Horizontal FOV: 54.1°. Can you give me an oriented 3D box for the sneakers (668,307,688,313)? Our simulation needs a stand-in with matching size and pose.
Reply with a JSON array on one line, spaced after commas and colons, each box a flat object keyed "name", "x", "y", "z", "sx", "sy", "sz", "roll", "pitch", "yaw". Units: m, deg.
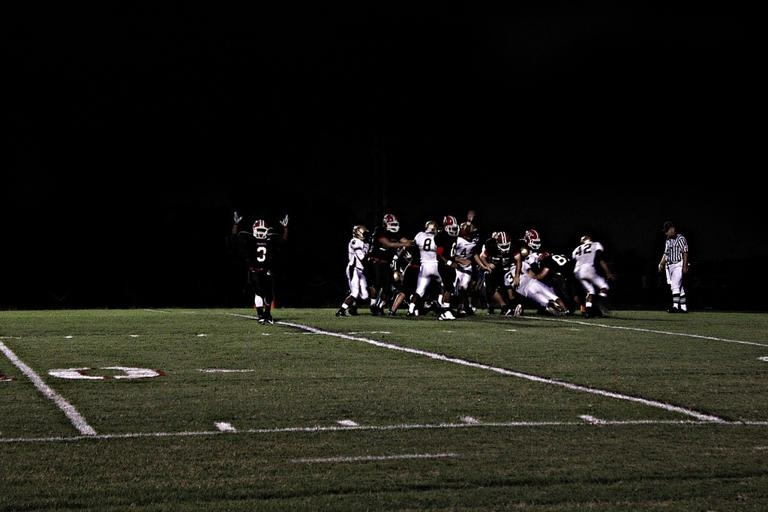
[{"name": "sneakers", "x": 8.737, "y": 1.608, "z": 22.518, "sx": 0.608, "sy": 0.216, "sz": 0.212, "roll": -1, "pitch": 3, "yaw": -6}]

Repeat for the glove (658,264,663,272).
[{"name": "glove", "x": 8.671, "y": 0.357, "z": 23.672, "sx": 0.077, "sy": 0.298, "sz": 0.099, "roll": 2, "pitch": -21, "yaw": 42}]

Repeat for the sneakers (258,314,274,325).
[{"name": "sneakers", "x": -2.836, "y": 1.517, "z": 17.866, "sx": 0.419, "sy": 0.162, "sz": 0.145, "roll": 6, "pitch": -10, "yaw": -8}]
